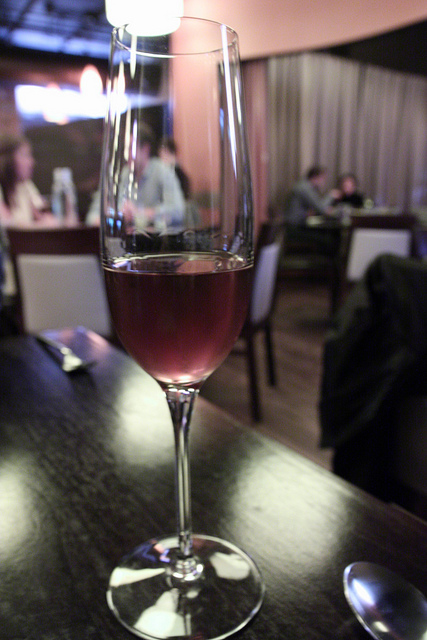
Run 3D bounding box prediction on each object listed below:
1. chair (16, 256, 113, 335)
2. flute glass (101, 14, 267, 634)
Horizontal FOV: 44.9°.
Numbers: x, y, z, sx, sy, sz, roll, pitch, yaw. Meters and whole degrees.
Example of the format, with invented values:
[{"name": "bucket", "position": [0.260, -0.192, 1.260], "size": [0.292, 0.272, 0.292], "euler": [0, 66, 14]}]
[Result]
[{"name": "chair", "position": [-0.445, -0.083, 1.547], "size": [0.179, 0.364, 0.200], "euler": [-3, 8, -11]}, {"name": "flute glass", "position": [-0.024, 0.000, 0.304], "size": [0.090, 0.308, 0.167], "euler": [-3, 13, -14]}]
